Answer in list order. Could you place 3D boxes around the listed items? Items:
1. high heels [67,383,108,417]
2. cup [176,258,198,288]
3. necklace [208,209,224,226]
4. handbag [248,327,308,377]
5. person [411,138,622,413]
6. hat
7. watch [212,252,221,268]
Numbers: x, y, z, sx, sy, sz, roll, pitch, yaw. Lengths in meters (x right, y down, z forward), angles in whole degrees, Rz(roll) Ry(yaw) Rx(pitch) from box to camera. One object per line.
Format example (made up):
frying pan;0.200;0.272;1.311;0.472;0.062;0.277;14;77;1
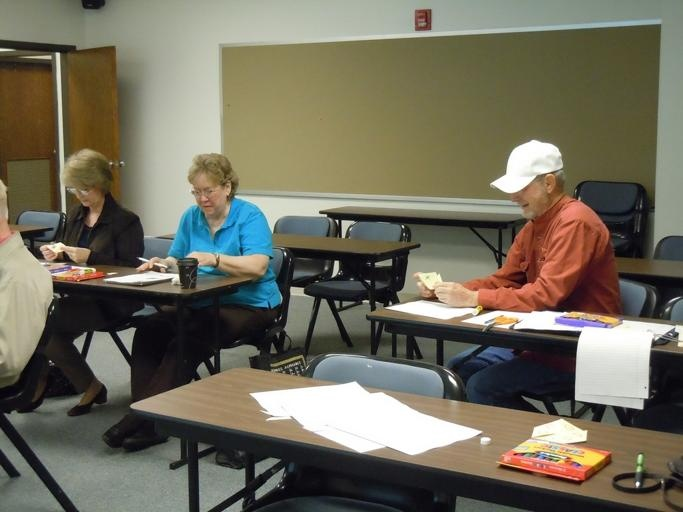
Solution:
high heels;-1.449;0.819;3.509;0.095;0.119;0.281;12;12;22
cup;-0.729;0.081;2.830;0.128;0.132;0.125;-1;0;0
necklace;-0.693;-0.213;3.295;0.079;0.081;0.085;4;-3;-15
handbag;-0.273;0.419;2.664;0.249;0.248;0.159;-9;7;-34
person;0.811;0.061;2.599;0.733;1.091;0.657;-5;12;-21
hat;0.832;-0.392;2.677;0.294;0.169;0.202;-14;16;-11
watch;-0.631;0.020;3.047;0.040;0.062;0.059;6;32;0
